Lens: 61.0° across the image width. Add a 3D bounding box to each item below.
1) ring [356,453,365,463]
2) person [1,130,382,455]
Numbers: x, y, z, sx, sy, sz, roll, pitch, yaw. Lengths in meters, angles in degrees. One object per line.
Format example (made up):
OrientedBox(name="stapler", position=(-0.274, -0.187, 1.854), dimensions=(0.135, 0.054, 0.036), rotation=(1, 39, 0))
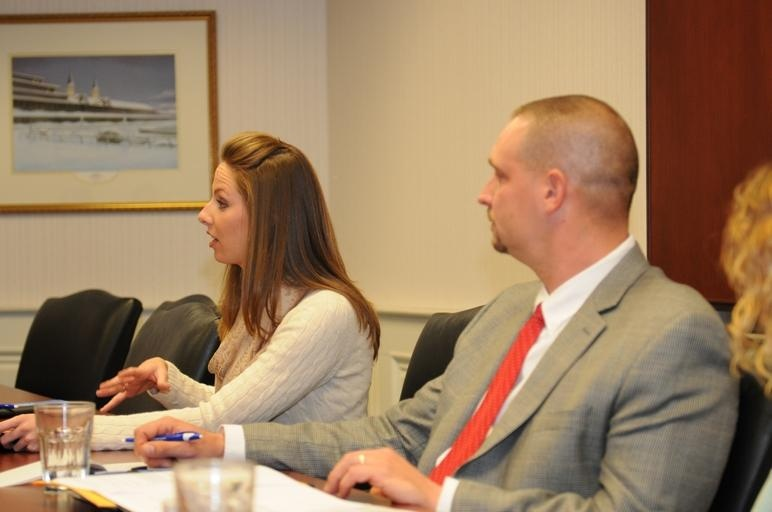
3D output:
OrientedBox(name="ring", position=(-0.055, 0.430, 1.404), dimensions=(0.015, 0.016, 0.004), rotation=(-2, -7, 16))
OrientedBox(name="person", position=(-0.458, 0.120, 2.160), dimensions=(1.053, 0.928, 0.637), rotation=(4, -4, -5))
